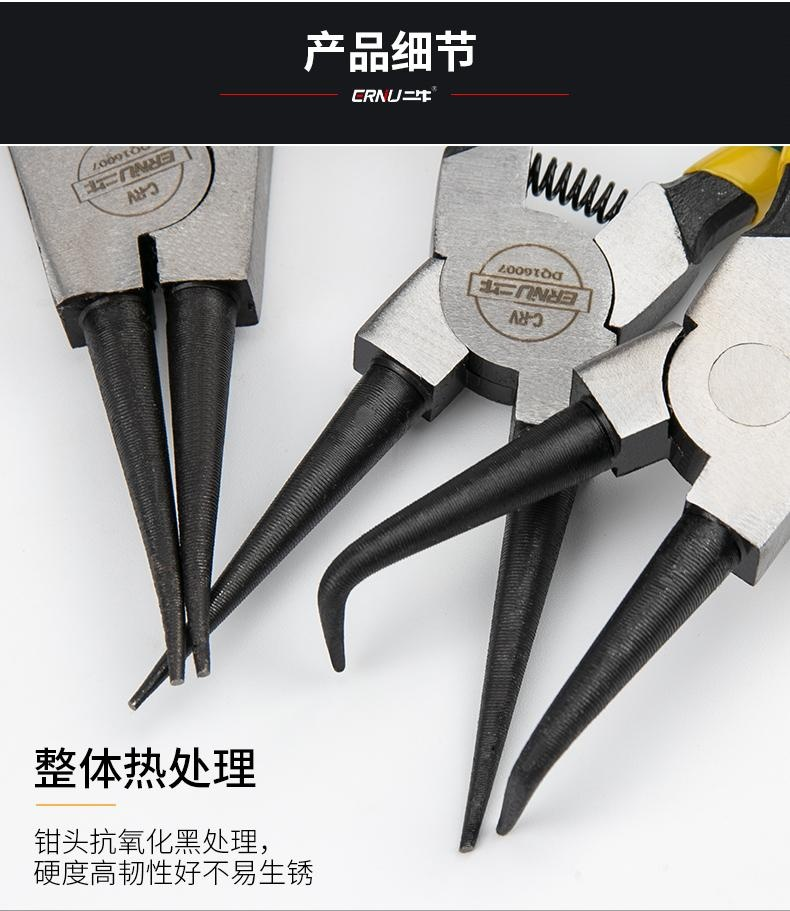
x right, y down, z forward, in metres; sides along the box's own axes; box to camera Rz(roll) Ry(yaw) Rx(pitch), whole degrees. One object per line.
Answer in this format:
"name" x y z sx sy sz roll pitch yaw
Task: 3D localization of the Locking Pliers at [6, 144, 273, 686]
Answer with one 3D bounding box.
"Locking Pliers" -0.183 -0.051 0.814 0.196 0.054 0.445 -7 57 -8
